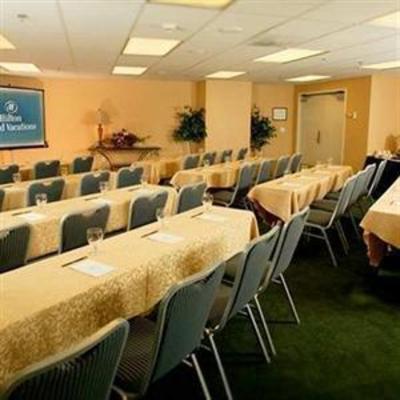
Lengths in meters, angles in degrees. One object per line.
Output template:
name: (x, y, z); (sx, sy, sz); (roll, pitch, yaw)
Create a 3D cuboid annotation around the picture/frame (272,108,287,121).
picture/frame: (2.819, -3.095, 10.837); (0.442, 0.377, 0.034); (-6, 11, -26)

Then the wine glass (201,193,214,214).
wine glass: (0.083, 0.016, 2.682); (0.135, 0.210, 0.128); (1, 13, 6)

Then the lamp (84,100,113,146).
lamp: (-2.850, -2.207, 8.632); (0.706, 1.320, 0.600); (-4, 12, -20)

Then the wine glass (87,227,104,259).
wine glass: (-0.617, 0.217, 1.774); (0.085, 0.158, 0.238); (-4, 12, -20)

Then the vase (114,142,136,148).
vase: (-2.259, -1.612, 8.966); (0.551, 0.129, 0.148); (-8, 13, -36)
